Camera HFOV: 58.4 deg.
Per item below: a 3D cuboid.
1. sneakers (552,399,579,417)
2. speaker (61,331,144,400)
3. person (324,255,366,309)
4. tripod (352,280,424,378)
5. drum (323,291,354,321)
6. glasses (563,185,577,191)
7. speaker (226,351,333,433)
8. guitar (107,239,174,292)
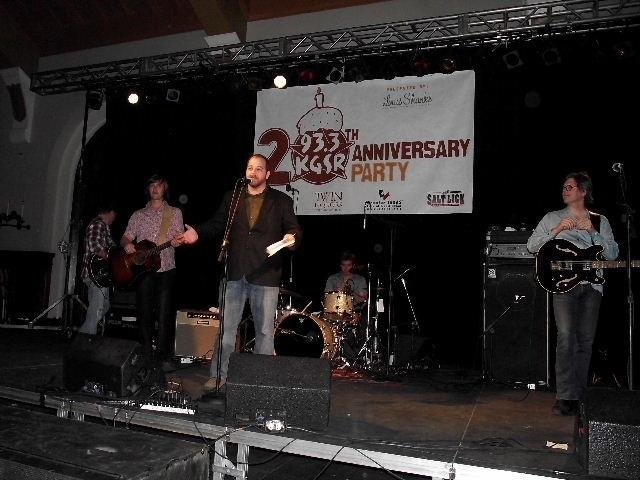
[{"bbox_3d":[2.051,1.400,4.784,0.275,0.201,0.095,8,-11,-21],"label":"sneakers"},{"bbox_3d":[-1.753,0.978,4.517,0.640,0.443,0.191,0,-9,19],"label":"speaker"},{"bbox_3d":[0.389,0.568,7.616,0.621,0.929,0.609,0,-12,1],"label":"person"},{"bbox_3d":[0.708,1.047,7.634,1.109,1.285,1.012,2,3,20],"label":"tripod"},{"bbox_3d":[0.204,0.836,7.078,0.349,0.271,0.353,6,-23,2],"label":"drum"},{"bbox_3d":[2.152,-0.447,4.932,0.068,0.025,0.066,7,-4,-31],"label":"glasses"},{"bbox_3d":[-0.259,1.000,4.141,0.831,0.480,0.580,6,5,5],"label":"speaker"},{"bbox_3d":[-1.743,0.231,5.604,0.921,0.437,0.295,-5,-13,45],"label":"guitar"}]
